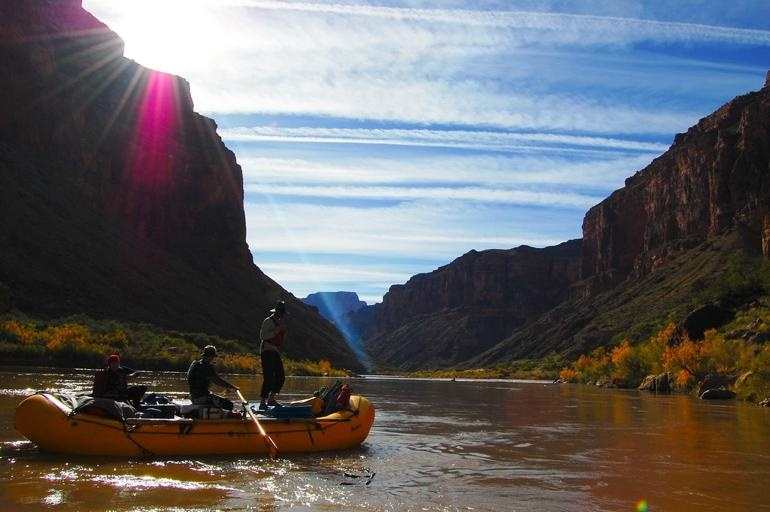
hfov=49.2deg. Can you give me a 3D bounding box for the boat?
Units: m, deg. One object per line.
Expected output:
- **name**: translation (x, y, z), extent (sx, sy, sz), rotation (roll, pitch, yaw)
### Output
- **boat**: translation (-9.585, 8.351, 40.995), extent (16.242, 2.831, 1.690), rotation (1, 5, -8)
